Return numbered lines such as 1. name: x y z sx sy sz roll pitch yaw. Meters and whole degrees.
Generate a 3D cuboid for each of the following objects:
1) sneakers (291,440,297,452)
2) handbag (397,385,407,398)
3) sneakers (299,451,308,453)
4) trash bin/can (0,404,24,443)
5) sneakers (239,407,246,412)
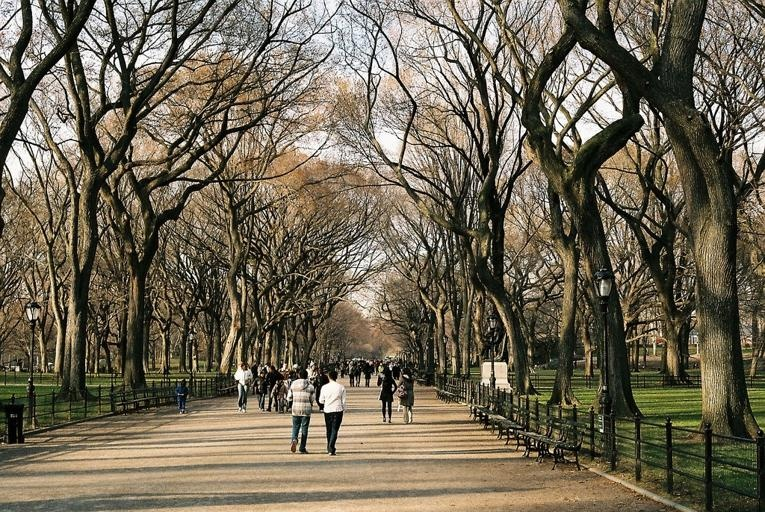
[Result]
1. sneakers: -2.913 6.257 33.475 0.158 0.409 0.164 2 4 -12
2. handbag: 0.815 5.729 42.600 0.369 0.604 0.203 -11 -15 34
3. sneakers: -2.600 6.435 33.352 0.219 0.110 0.234 -1 -14 -5
4. trash bin/can: -12.858 5.894 35.560 0.685 1.362 1.031 3 -14 -20
5. sneakers: -6.631 7.250 47.937 0.230 0.298 0.665 0 -1 -1
